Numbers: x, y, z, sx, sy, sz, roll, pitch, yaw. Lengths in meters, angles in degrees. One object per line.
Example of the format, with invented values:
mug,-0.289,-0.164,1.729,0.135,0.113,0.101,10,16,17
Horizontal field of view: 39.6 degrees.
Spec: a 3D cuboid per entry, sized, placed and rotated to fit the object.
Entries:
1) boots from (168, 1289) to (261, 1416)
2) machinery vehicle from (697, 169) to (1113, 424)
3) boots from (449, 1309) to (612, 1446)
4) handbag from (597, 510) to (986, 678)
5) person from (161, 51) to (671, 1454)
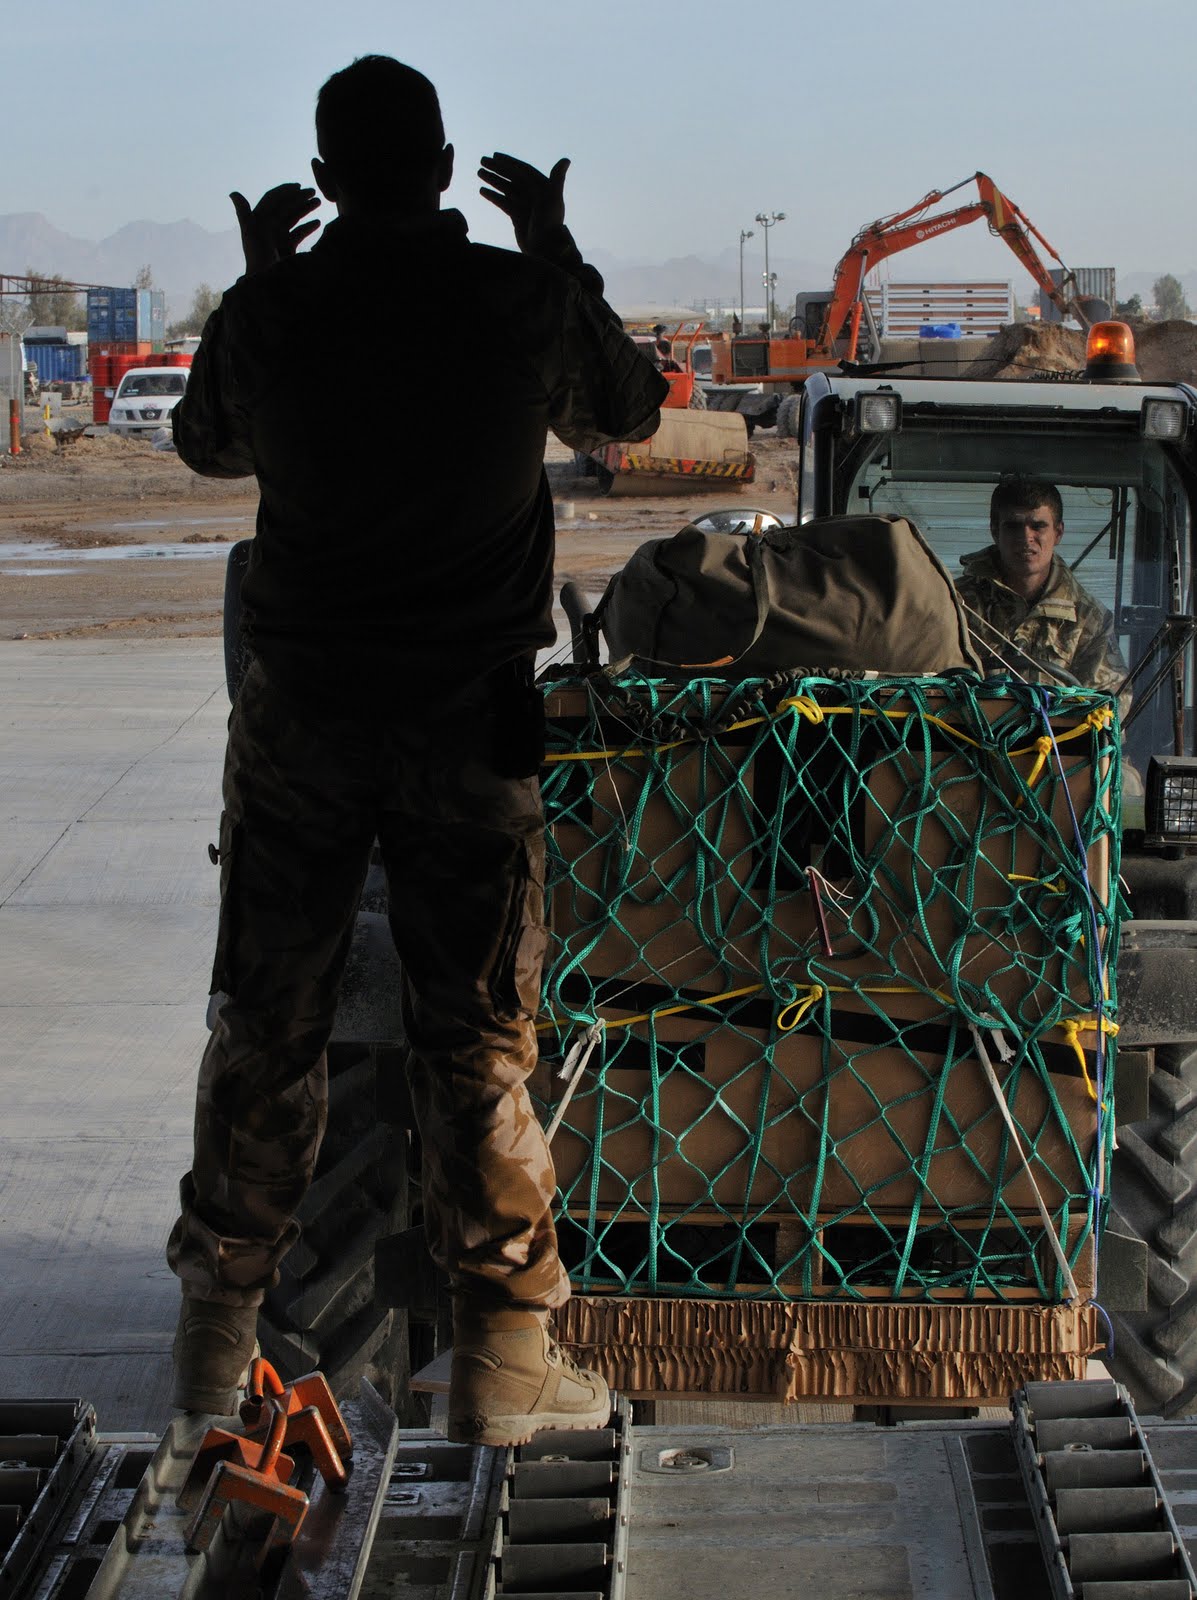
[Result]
boots,-0.464,0.694,2.080,0.085,0.088,0.226,3,7,-4
machinery vehicle,3.828,-6.216,20.439,5.558,2.817,1.258,-22,47,-25
boots,-0.073,0.719,2.110,0.099,0.172,0.284,-5,-13,40
handbag,0.257,-0.281,2.386,0.395,0.133,0.298,0,2,16
person,-0.259,0.034,2.072,0.619,1.492,0.519,2,13,1
